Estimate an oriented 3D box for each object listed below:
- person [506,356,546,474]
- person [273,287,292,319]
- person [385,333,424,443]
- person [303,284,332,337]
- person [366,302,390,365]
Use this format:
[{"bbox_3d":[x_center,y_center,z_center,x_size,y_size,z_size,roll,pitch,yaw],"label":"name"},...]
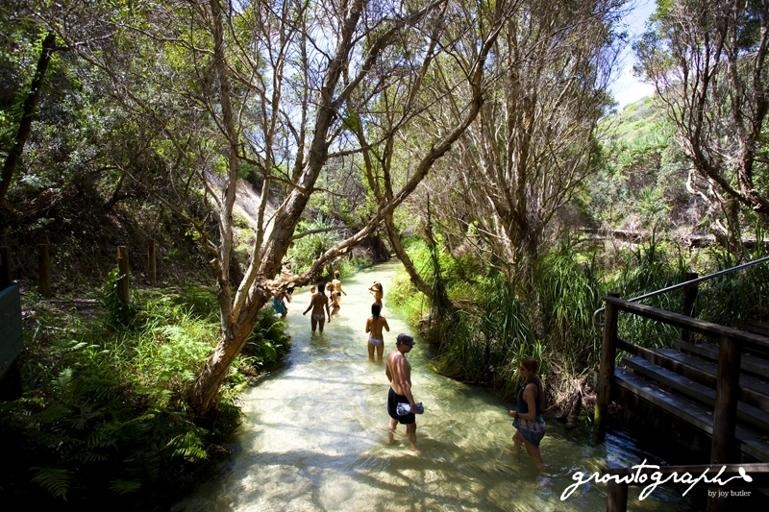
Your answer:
[{"bbox_3d":[2.439,2.613,7.440,0.524,1.827,0.611,1,-2,21],"label":"person"},{"bbox_3d":[-2.561,1.212,10.907,0.327,0.370,1.002,-25,-5,-27],"label":"person"},{"bbox_3d":[0.345,2.348,7.750,0.492,1.942,0.859,2,-2,-17],"label":"person"},{"bbox_3d":[-1.941,1.552,13.038,0.655,1.440,1.319,2,-3,-8],"label":"person"},{"bbox_3d":[-0.155,2.085,11.210,0.570,1.908,0.538,4,15,14],"label":"person"}]
